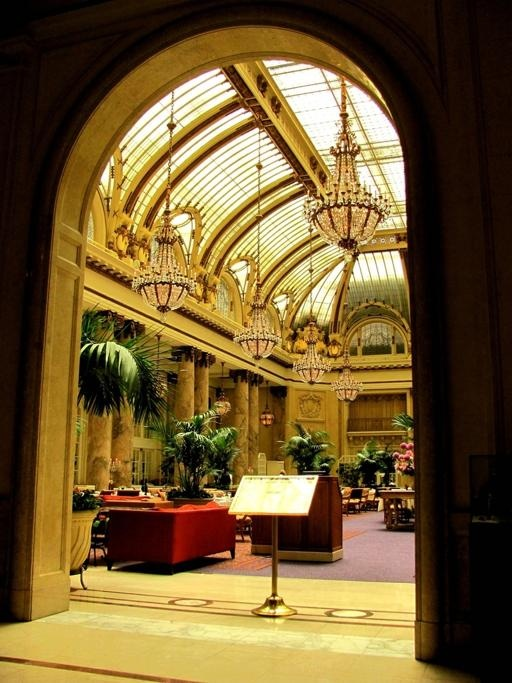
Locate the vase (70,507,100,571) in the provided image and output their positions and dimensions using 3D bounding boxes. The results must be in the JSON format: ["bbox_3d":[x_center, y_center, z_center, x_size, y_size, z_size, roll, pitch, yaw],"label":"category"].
[{"bbox_3d":[-1.493,1.729,5.014,0.194,0.548,0.658,4,-13,-14],"label":"vase"}]

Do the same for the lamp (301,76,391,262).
[{"bbox_3d":[1.245,-2.346,8.182,1.141,2.073,0.772,-2,-13,10],"label":"lamp"}]
